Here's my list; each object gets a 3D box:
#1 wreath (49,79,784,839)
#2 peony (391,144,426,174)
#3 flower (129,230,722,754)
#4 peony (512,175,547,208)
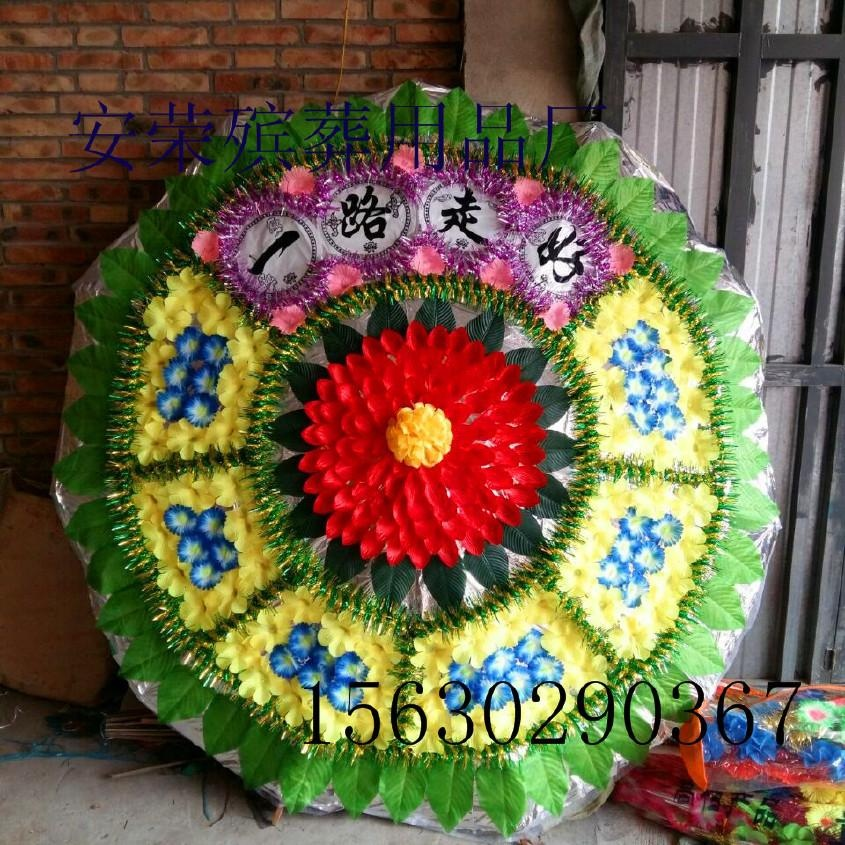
[{"bbox_3d":[0.052,0.113,3.589,2.282,0.757,1.621,1,87,3],"label":"wreath"},{"bbox_3d":[-0.031,-0.618,2.885,0.080,0.029,0.063,-20,83,-3],"label":"peony"},{"bbox_3d":[0.053,0.171,3.339,1.571,0.567,1.136,2,87,3],"label":"flower"},{"bbox_3d":[0.250,-0.545,2.891,0.091,0.029,0.064,2,81,-4],"label":"peony"}]
